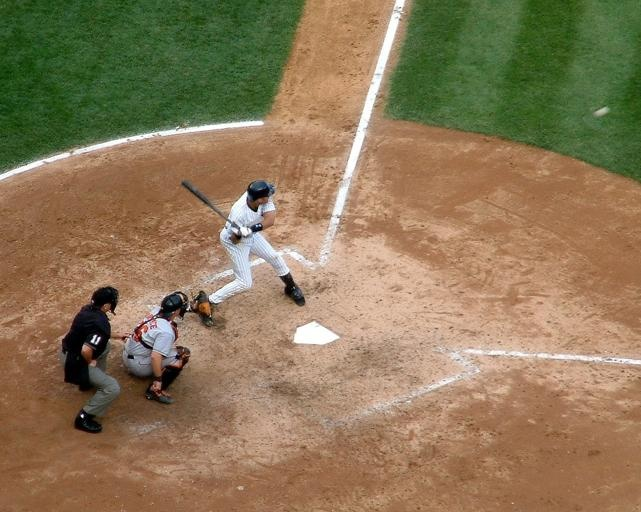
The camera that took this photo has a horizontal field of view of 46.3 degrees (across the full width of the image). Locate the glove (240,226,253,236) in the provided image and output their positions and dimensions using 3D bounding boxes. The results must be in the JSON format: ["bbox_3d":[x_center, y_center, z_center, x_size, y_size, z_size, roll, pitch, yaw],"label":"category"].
[{"bbox_3d":[-1.058,-0.338,10.746,0.151,0.212,0.162,-6,64,0],"label":"glove"}]

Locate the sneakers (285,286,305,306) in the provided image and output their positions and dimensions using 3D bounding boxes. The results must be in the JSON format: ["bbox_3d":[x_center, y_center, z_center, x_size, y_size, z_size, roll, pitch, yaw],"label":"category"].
[{"bbox_3d":[-0.378,0.605,11.374,0.381,0.157,0.177,43,94,21],"label":"sneakers"}]

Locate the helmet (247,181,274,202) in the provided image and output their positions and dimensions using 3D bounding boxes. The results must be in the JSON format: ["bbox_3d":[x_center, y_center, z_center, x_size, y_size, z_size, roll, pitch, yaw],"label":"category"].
[{"bbox_3d":[-0.881,-0.918,10.710,0.458,0.159,0.235,-11,52,-8],"label":"helmet"}]

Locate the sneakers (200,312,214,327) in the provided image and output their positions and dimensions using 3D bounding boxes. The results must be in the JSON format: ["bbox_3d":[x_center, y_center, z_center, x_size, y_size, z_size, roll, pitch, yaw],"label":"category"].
[{"bbox_3d":[-1.655,0.949,10.998,0.221,0.083,0.154,38,102,7],"label":"sneakers"}]
